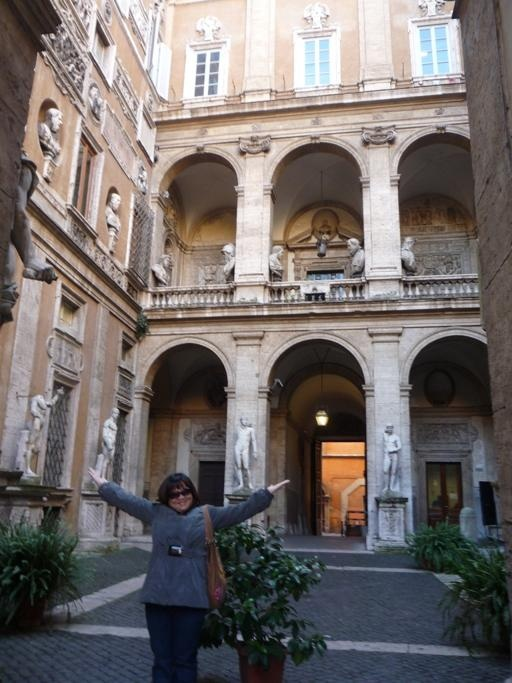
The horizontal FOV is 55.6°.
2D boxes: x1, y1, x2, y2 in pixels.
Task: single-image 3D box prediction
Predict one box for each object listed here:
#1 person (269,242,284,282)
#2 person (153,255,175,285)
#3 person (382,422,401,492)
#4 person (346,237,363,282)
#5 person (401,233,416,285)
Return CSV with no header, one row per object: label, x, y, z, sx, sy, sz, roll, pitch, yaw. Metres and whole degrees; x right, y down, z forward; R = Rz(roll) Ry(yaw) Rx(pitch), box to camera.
person,0.627,-2.526,15.105,0.409,1.345,0.845,1,-19,1
person,-2.959,-2.324,15.633,0.575,1.150,0.832,-3,-32,2
person,3.442,2.985,12.322,0.497,1.715,0.476,-2,-20,11
person,3.084,-2.631,14.900,0.429,1.670,1.160,-2,-20,9
person,4.621,-2.595,14.741,0.384,1.528,0.633,-7,-21,23
